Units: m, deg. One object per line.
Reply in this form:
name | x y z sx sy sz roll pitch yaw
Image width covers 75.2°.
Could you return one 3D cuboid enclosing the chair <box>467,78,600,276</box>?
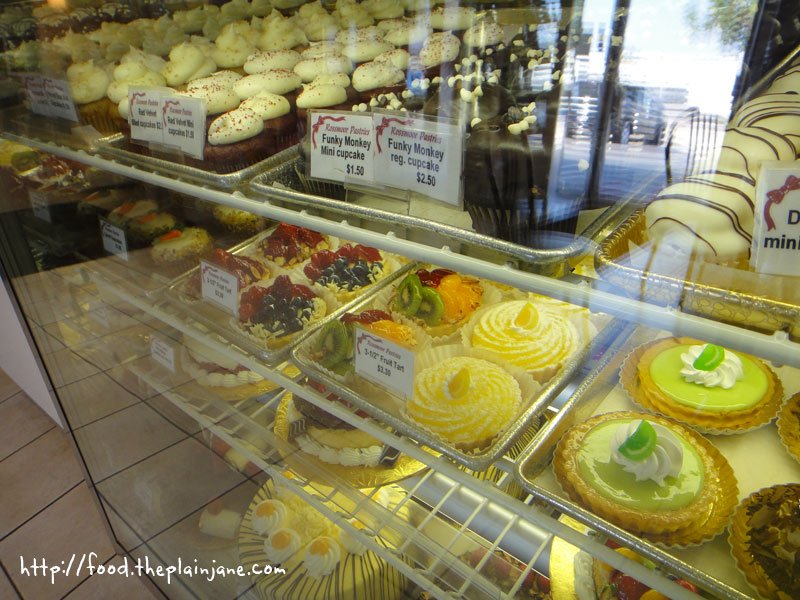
chair | 0.243 -0.221 0.910 0.248 0.322 0.194 26 43 37
